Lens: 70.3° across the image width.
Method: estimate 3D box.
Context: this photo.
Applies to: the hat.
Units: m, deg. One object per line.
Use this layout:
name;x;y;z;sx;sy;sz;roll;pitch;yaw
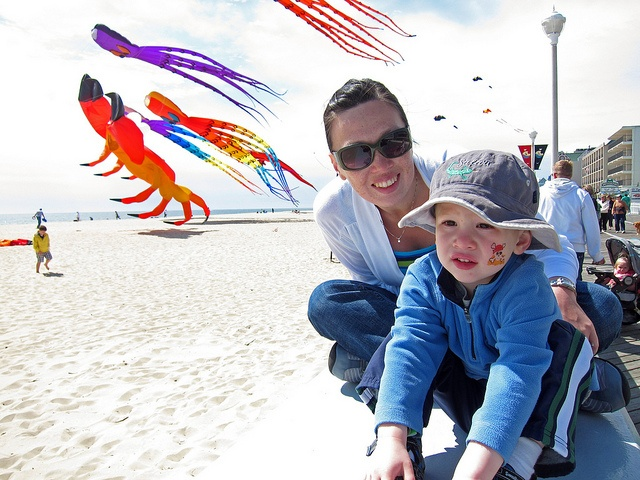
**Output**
hat;0.754;-0.198;2.145;0.651;0.344;0.554;2;4;-14
